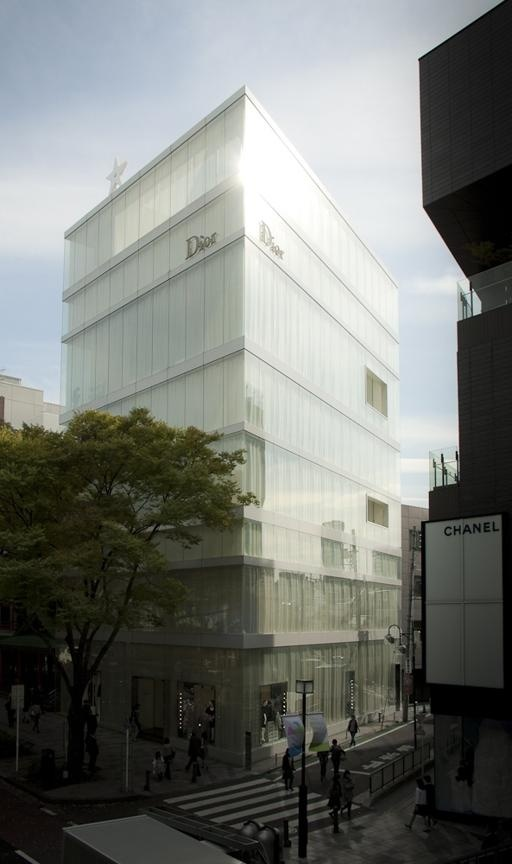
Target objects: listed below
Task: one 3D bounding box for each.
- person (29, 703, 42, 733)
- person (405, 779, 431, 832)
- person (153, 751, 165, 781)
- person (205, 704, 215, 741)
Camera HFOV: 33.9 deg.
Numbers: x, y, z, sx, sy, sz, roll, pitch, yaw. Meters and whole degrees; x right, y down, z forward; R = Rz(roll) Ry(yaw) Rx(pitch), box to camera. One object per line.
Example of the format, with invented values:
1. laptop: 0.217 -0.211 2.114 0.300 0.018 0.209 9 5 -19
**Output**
1. person: -10.365 13.299 39.227 0.449 1.378 1.068 6 -9 -9
2. person: 4.539 10.374 23.690 0.662 1.502 1.659 -3 -10 9
3. person: -3.388 11.541 29.115 0.380 0.869 0.650 1 -10 -11
4. person: -1.904 11.850 34.402 0.303 1.574 0.894 1 -10 -11
